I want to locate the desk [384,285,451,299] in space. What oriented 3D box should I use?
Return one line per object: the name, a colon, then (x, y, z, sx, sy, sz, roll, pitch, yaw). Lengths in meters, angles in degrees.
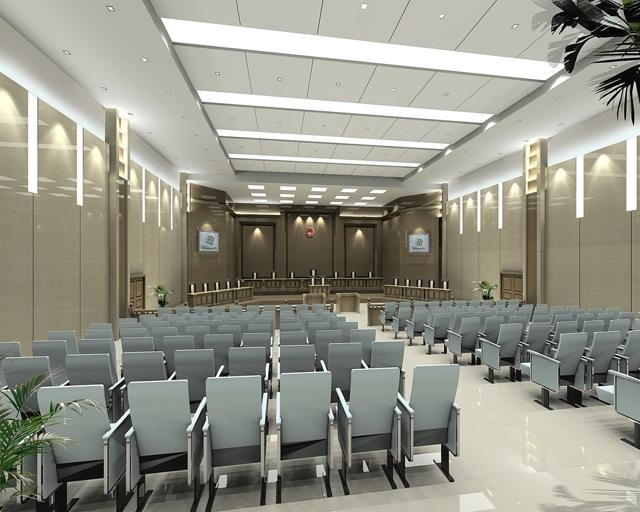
desk: (4.358, 1.697, 19.250, 0.925, 0.619, 4.291, 0, -3, -22)
